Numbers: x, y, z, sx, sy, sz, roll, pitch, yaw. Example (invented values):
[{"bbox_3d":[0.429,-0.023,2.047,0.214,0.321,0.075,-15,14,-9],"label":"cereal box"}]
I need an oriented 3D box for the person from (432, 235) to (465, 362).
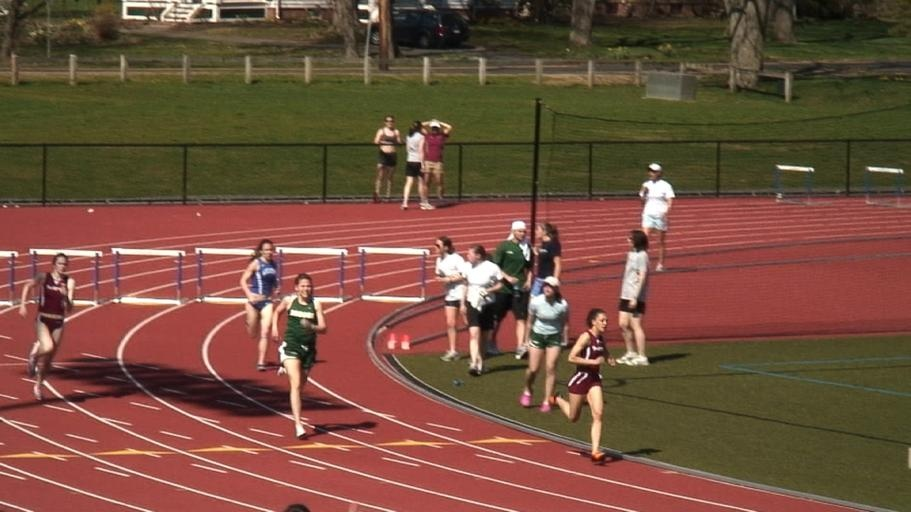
[{"bbox_3d":[-0.306,1.262,49.832,1.489,3.415,1.023,1,0,1],"label":"person"}]

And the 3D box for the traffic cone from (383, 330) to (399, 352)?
[{"bbox_3d":[-2.057,2.805,50.952,0.618,0.857,0.536,-1,-2,2],"label":"traffic cone"}]

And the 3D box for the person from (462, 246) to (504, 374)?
[{"bbox_3d":[0.855,1.617,49.491,1.650,3.634,1.144,2,0,7],"label":"person"}]
